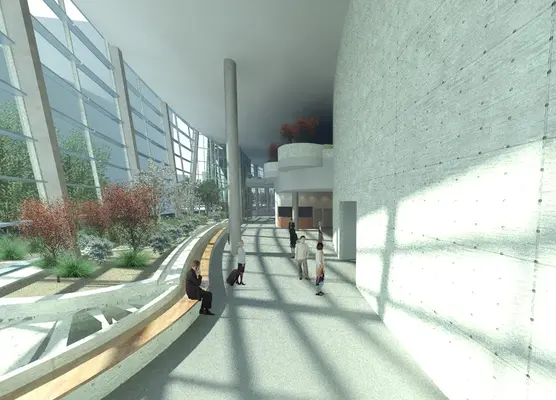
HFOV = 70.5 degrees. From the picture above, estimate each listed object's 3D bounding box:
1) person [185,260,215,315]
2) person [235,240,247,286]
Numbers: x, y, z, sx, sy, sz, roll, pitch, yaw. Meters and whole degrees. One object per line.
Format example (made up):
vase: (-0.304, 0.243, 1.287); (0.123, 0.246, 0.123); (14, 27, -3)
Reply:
person: (-2.235, 2.515, 11.098); (0.661, 1.568, 0.379); (-7, 2, -16)
person: (-1.296, 2.122, 13.384); (0.374, 1.460, 0.932); (-7, 1, -8)
